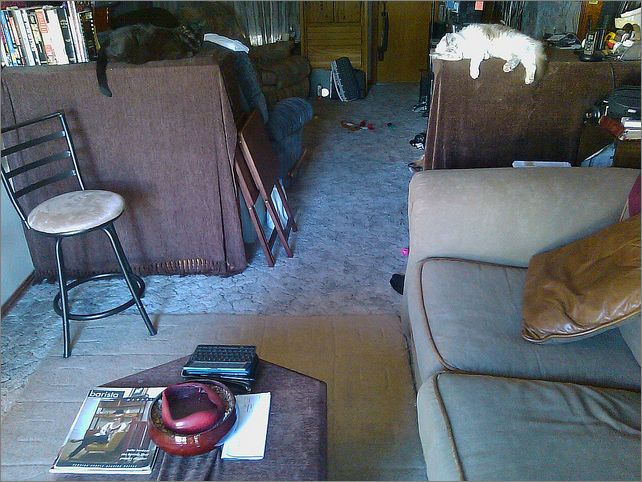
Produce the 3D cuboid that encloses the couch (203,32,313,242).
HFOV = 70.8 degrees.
[{"bbox_3d":[-0.409,-0.928,3.525,0.511,0.740,0.622,-18,13,24],"label":"couch"}]

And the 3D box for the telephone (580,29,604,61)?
[{"bbox_3d":[1.415,-1.008,2.342,0.104,0.136,0.133,13,34,20],"label":"telephone"}]

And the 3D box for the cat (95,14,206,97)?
[{"bbox_3d":[-0.920,-1.020,2.373,0.658,0.209,0.602,-4,33,-3],"label":"cat"}]

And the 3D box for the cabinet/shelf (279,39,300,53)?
[{"bbox_3d":[-0.428,-2.524,5.898,0.352,0.076,0.300,3,38,-1],"label":"cabinet/shelf"}]

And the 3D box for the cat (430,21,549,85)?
[{"bbox_3d":[0.934,-1.055,2.541,0.504,0.316,0.175,22,14,3],"label":"cat"}]
